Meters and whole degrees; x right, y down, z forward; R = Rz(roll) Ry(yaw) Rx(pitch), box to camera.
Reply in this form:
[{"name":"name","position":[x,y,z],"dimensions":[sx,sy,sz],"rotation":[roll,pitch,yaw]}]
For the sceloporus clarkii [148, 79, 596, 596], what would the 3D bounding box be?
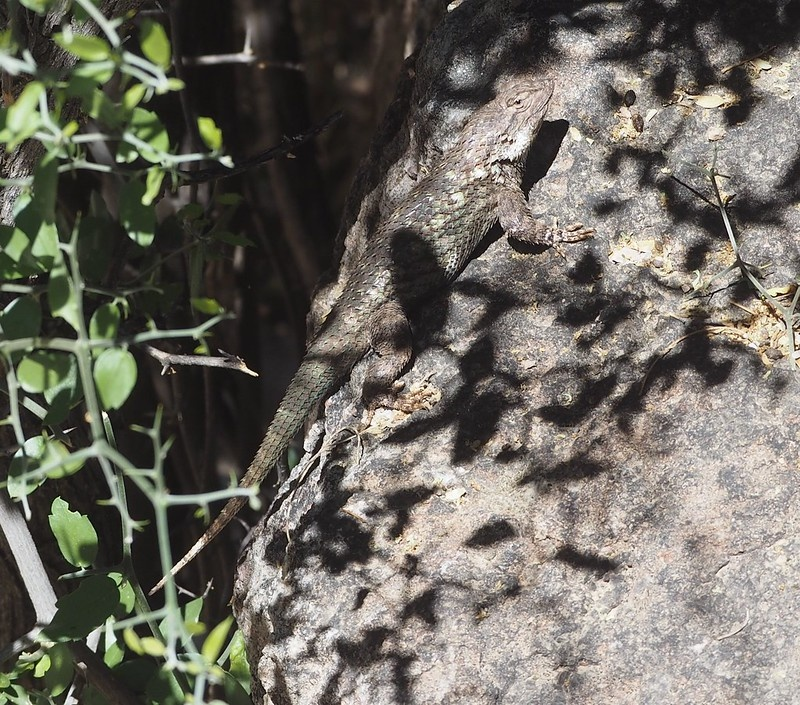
[{"name":"sceloporus clarkii","position":[0.001,-0.212,4.936],"dimensions":[0.849,0.469,2.254],"rotation":[3,40,48]}]
